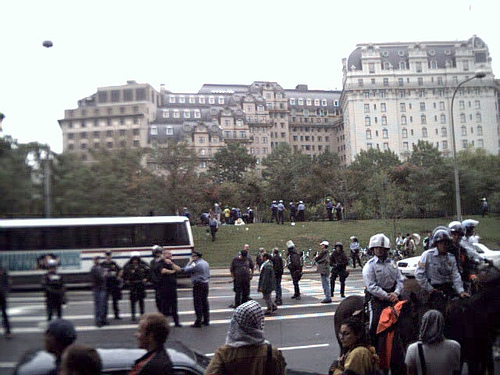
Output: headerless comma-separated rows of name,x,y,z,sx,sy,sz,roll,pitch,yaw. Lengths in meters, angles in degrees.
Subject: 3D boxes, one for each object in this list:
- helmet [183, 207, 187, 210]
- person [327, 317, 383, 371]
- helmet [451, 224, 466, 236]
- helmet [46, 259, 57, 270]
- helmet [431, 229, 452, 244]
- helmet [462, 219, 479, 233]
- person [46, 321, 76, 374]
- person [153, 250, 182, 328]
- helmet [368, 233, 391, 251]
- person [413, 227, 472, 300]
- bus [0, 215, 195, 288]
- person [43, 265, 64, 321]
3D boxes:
helmet,-5.251,1.685,49.599,0.274,0.158,0.280,0,-3,-2
person,1.944,2.836,11.214,0.830,1.170,1.196,0,-10,4
helmet,4.561,0.918,13.294,0.427,0.250,0.195,2,-5,-38
helmet,-5.855,2.272,18.099,0.237,0.288,0.395,0,-5,-18
helmet,4.018,1.033,12.829,0.421,0.283,0.289,-4,-5,27
helmet,5.428,0.933,15.075,0.343,0.282,0.273,1,-1,16
person,-3.266,2.766,10.568,0.511,0.979,0.658,1,-15,6
person,-2.489,3.040,18.478,0.827,2.256,1.558,-1,-4,-9
helmet,2.777,1.150,13.061,0.340,0.375,0.441,1,-27,9
person,4.002,1.585,12.712,1.078,1.466,0.999,-1,-3,33
bus,-7.499,3.013,29.243,8.228,3.164,1.585,0,-5,-20
person,-5.802,3.179,18.172,0.678,2.043,0.571,-3,5,-21
